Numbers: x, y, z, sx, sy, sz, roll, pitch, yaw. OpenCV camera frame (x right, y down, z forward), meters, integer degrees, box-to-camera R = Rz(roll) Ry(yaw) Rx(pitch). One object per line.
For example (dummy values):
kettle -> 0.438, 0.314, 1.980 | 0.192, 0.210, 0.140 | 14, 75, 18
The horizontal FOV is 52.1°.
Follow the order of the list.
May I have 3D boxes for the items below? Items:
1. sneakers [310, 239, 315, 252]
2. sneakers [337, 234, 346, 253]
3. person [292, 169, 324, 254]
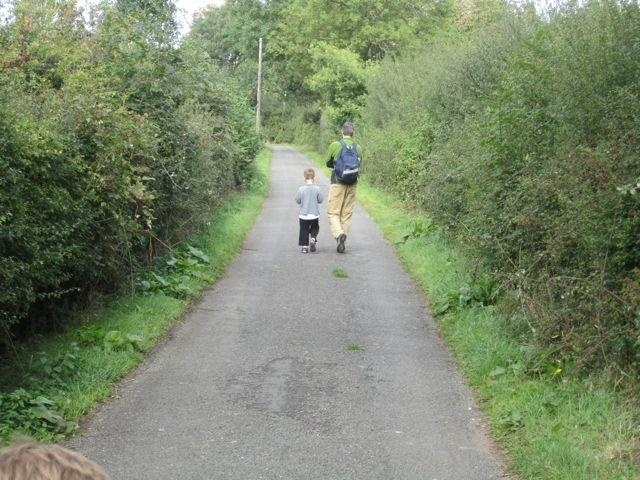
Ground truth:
sneakers -> -0.158, 0.123, 13.785 | 0.093, 0.249, 0.107 | -2, -1, 9
sneakers -> 0.442, 0.055, 13.672 | 0.148, 0.403, 0.177 | -3, 13, -9
person -> -0.238, -0.654, 14.041 | 0.542, 1.779, 1.134 | 0, 14, -1
